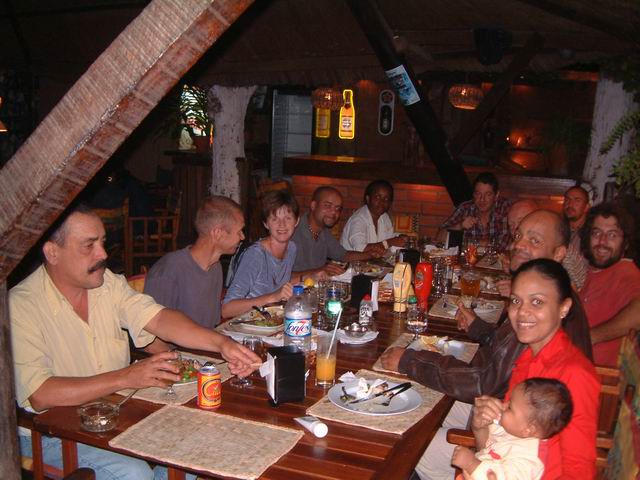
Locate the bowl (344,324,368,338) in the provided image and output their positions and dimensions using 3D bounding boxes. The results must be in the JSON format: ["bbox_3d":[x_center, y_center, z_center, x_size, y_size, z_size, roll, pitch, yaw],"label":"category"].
[{"bbox_3d":[0.239,0.543,3.042,0.132,0.054,0.235,0,-3,39],"label":"bowl"}]

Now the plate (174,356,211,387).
[{"bbox_3d":[-0.630,0.625,2.426,0.150,0.026,0.153,15,9,28],"label":"plate"}]

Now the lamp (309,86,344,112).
[{"bbox_3d":[0.145,-2.812,10.123,0.456,0.433,0.460,0,3,1],"label":"lamp"}]

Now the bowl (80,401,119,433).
[{"bbox_3d":[-0.908,0.724,2.080,0.147,0.105,0.276,2,-2,-25],"label":"bowl"}]

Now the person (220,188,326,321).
[{"bbox_3d":[-0.363,0.226,4.005,0.673,1.174,0.915,16,23,27],"label":"person"}]

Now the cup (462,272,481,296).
[{"bbox_3d":[1.168,0.349,3.990,0.170,0.181,0.168,-1,6,0],"label":"cup"}]

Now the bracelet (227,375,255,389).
[{"bbox_3d":[-0.376,0.678,2.391,0.074,0.029,0.055,5,11,22],"label":"bracelet"}]

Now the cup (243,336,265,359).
[{"bbox_3d":[-0.336,0.553,2.597,0.101,0.099,0.101,1,-1,0],"label":"cup"}]

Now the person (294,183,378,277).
[{"bbox_3d":[0.095,-0.044,4.956,0.998,0.938,0.777,3,2,0],"label":"person"}]

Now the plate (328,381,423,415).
[{"bbox_3d":[0.248,0.710,2.242,0.420,0.078,0.247,1,-2,-6],"label":"plate"}]

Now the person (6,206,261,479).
[{"bbox_3d":[-1.008,0.344,2.517,0.878,1.228,0.787,1,-1,27],"label":"person"}]

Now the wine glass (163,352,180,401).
[{"bbox_3d":[-0.679,0.620,2.334,0.081,0.189,0.311,1,-2,-15],"label":"wine glass"}]

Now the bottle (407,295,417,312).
[{"bbox_3d":[0.621,0.435,3.423,0.088,0.103,0.089,1,5,8],"label":"bottle"}]

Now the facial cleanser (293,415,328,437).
[{"bbox_3d":[-0.027,0.750,2.033,0.088,0.054,0.178,2,-2,-37],"label":"facial cleanser"}]

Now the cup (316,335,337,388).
[{"bbox_3d":[0.027,0.579,2.445,0.104,0.172,0.181,1,-1,0],"label":"cup"}]

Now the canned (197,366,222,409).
[{"bbox_3d":[-0.479,0.638,2.197,0.101,0.175,0.100,-5,14,-38],"label":"canned"}]

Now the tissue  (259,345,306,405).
[{"bbox_3d":[-0.172,0.610,2.248,0.193,0.218,0.138,0,4,-26],"label":"tissue "}]

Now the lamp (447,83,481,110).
[{"bbox_3d":[2.411,-2.404,8.317,0.532,0.455,0.376,1,-1,-12],"label":"lamp"}]

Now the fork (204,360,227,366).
[{"bbox_3d":[-0.513,0.609,2.474,0.074,0.018,0.049,-4,13,0],"label":"fork"}]

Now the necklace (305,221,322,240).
[{"bbox_3d":[-0.066,-0.086,4.945,0.110,0.056,0.139,16,18,-43],"label":"necklace"}]
